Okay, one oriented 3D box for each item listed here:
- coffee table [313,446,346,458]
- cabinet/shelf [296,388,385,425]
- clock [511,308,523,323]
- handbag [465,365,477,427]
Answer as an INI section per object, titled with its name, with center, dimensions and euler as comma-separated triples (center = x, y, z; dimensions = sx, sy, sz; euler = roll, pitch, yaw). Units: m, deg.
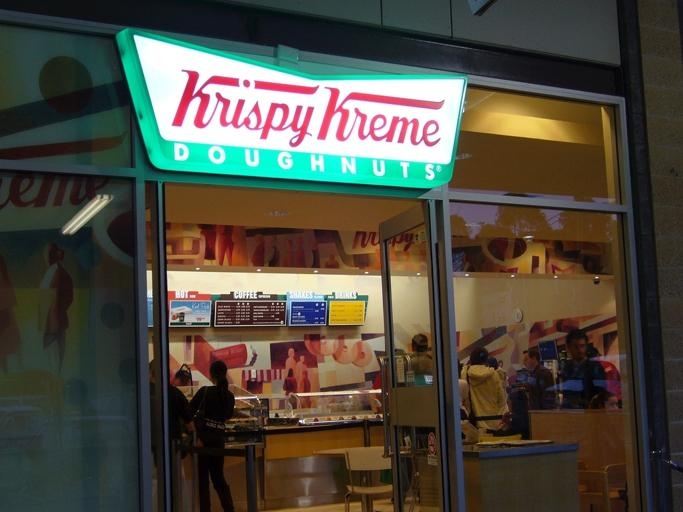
[coffee table]
center = -0.114, 2.051, 7.115
dimensions = 0.278, 0.101, 0.948
euler = -4, -13, 0
[cabinet/shelf]
center = -0.020, 1.832, 8.499
dimensions = 1.231, 0.390, 1.311
euler = -1, -13, -12
[clock]
center = 1.240, 0.414, 4.807
dimensions = 0.091, 0.108, 0.007
euler = 0, -12, -13
[handbag]
center = 0.867, 0.939, 4.602
dimensions = 0.049, 0.406, 0.077
euler = -7, -12, 20
